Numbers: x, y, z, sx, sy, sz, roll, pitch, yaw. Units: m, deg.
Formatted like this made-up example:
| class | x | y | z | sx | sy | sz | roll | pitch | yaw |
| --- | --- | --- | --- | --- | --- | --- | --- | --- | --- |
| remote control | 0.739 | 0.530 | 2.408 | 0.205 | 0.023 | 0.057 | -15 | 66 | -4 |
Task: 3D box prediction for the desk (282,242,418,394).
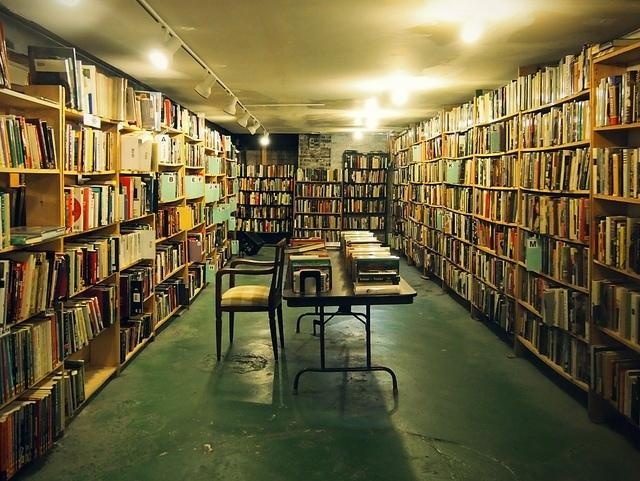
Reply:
| class | x | y | z | sx | sy | sz | roll | pitch | yaw |
| --- | --- | --- | --- | --- | --- | --- | --- | --- | --- |
| desk | 0.196 | 0.703 | 4.492 | 0.976 | 0.738 | 1.823 | 0 | 4 | 1 |
